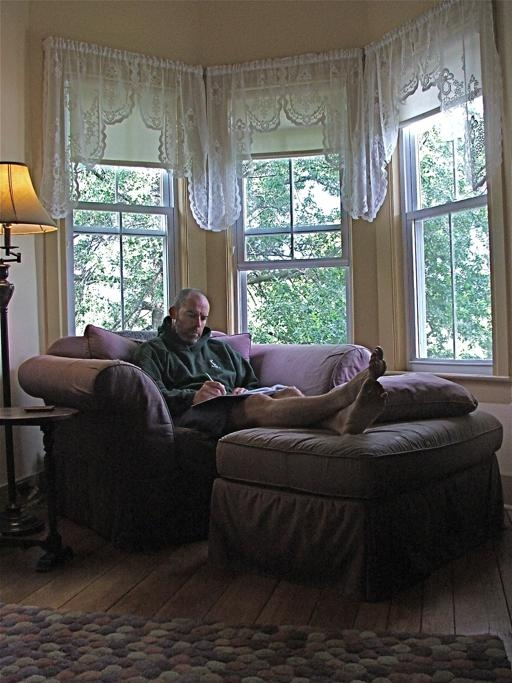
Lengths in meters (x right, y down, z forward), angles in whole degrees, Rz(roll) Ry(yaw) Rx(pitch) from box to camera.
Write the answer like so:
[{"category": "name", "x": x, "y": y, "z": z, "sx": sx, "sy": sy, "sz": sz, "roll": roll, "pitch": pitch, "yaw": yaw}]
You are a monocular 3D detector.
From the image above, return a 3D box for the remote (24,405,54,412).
[{"category": "remote", "x": -0.743, "y": 0.230, "z": 2.076, "sx": 0.061, "sy": 0.012, "sz": 0.060, "roll": 0, "pitch": 1, "yaw": -3}]

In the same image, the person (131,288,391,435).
[{"category": "person", "x": -0.004, "y": 0.091, "z": 2.431, "sx": 1.134, "sy": 0.602, "sz": 0.517, "roll": 1, "pitch": -1, "yaw": 42}]
